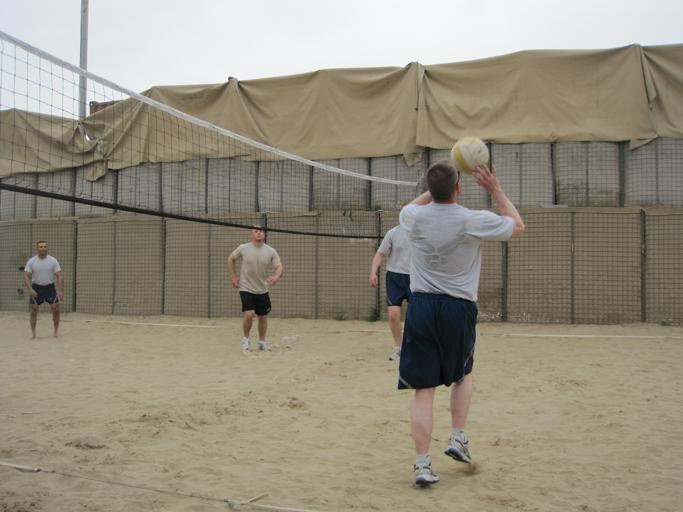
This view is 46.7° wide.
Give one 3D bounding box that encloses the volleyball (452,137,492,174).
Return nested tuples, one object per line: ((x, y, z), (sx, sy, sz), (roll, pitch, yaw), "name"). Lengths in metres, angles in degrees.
((1.378, -1.028, 8.380), (0.376, 0.407, 0.378), (-8, -20, -8), "volleyball")

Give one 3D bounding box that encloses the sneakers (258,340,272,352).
((-1.177, 1.373, 11.979), (0.257, 0.121, 0.104), (-7, -5, 43), "sneakers")

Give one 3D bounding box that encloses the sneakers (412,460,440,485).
((0.845, 2.137, 7.745), (0.121, 0.240, 0.332), (-1, -3, 20), "sneakers")

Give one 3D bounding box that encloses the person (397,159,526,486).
((1.080, 0.655, 7.782), (1.070, 3.093, 0.736), (-2, 11, -5), "person")

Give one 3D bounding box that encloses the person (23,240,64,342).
((-5.132, 0.603, 13.690), (0.571, 1.705, 0.925), (-6, 12, -22), "person")
